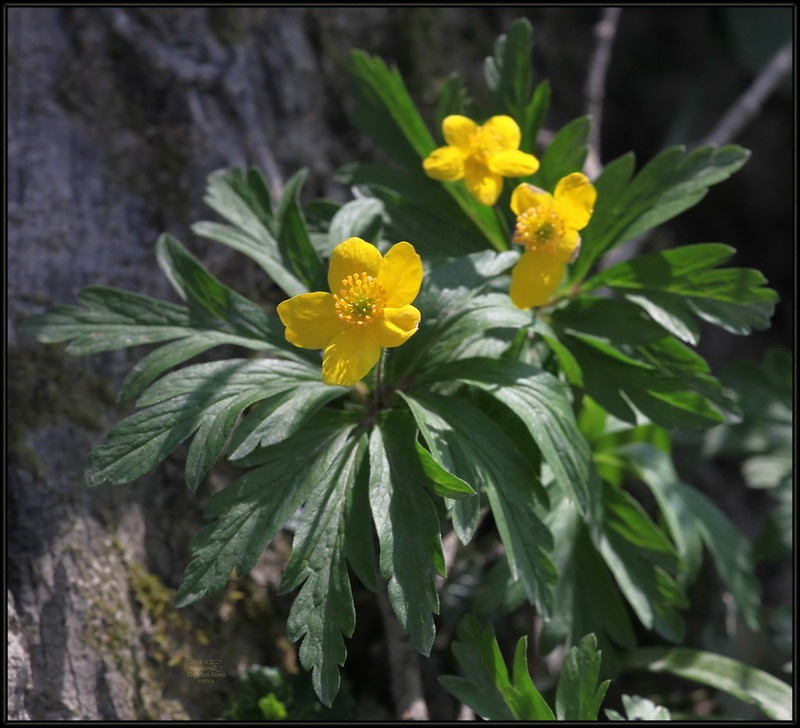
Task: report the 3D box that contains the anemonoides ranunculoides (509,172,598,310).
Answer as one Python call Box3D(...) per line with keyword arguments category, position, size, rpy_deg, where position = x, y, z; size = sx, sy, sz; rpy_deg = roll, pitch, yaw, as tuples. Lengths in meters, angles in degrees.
Box3D(category="anemonoides ranunculoides", position=(0.500, -0.400, 2.516), size=(0.260, 0.425, 0.148), rpy_deg=(19, 2, 14))
